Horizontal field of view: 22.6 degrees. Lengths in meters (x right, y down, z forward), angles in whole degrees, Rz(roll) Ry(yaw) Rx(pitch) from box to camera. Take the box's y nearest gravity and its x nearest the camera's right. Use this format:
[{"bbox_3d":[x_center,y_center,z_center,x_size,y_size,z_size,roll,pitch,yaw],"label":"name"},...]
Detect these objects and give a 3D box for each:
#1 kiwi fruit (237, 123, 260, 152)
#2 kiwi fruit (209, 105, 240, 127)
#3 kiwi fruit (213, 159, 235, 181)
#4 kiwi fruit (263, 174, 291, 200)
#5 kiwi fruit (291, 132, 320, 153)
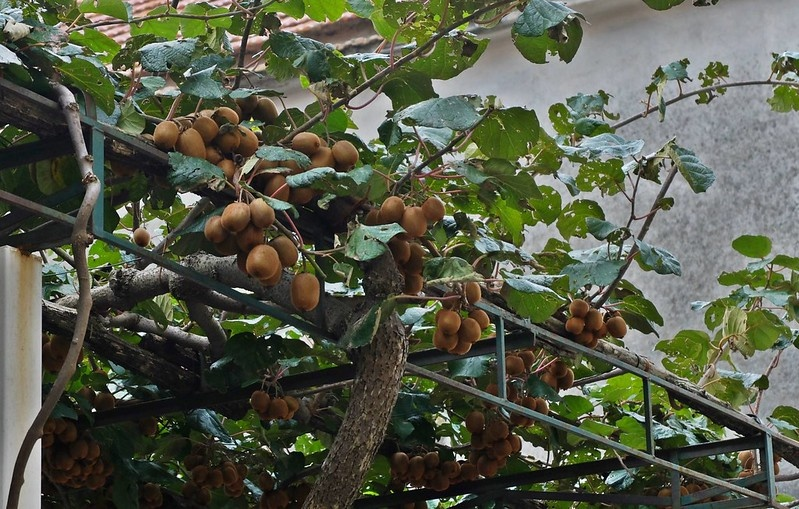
[{"bbox_3d":[-1.146,-0.860,15.125,0.143,0.194,0.147,-47,-1,-21],"label":"kiwi fruit"},{"bbox_3d":[-1.310,-1.042,15.048,0.180,0.124,0.129,1,-9,-23],"label":"kiwi fruit"},{"bbox_3d":[-1.283,-0.643,15.083,0.145,0.159,0.139,-20,0,-31],"label":"kiwi fruit"},{"bbox_3d":[-0.910,-0.498,15.007,0.156,0.144,0.191,-15,47,-6],"label":"kiwi fruit"},{"bbox_3d":[-0.689,-0.846,15.137,0.192,0.133,0.136,-8,6,13],"label":"kiwi fruit"}]
